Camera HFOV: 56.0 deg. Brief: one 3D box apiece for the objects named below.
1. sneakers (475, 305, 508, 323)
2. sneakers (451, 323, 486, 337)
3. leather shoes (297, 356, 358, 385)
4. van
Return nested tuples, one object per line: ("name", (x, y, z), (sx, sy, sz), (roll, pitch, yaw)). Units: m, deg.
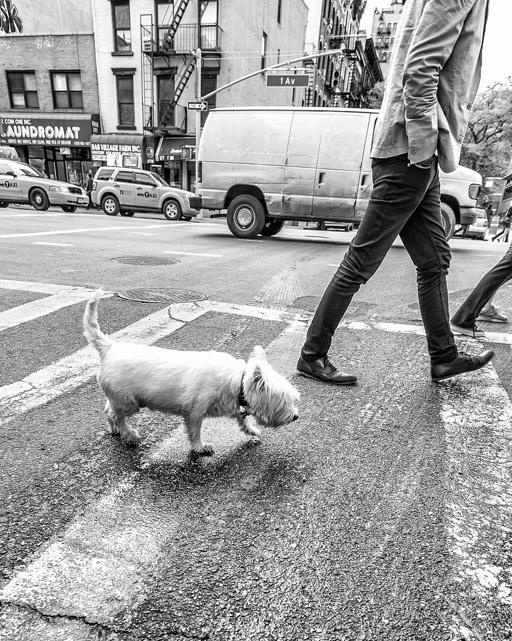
("sneakers", (2.179, -0.063, 4.475), (0.263, 0.175, 0.113), (5, 13, -8))
("sneakers", (1.756, 0.066, 4.067), (0.296, 0.138, 0.118), (5, 9, 8))
("leather shoes", (0.444, 0.309, 3.109), (0.388, 0.194, 0.150), (11, -4, 8))
("van", (2.050, -3.731, 12.018), (6.724, 3.685, 3.625), (4, 16, 15))
